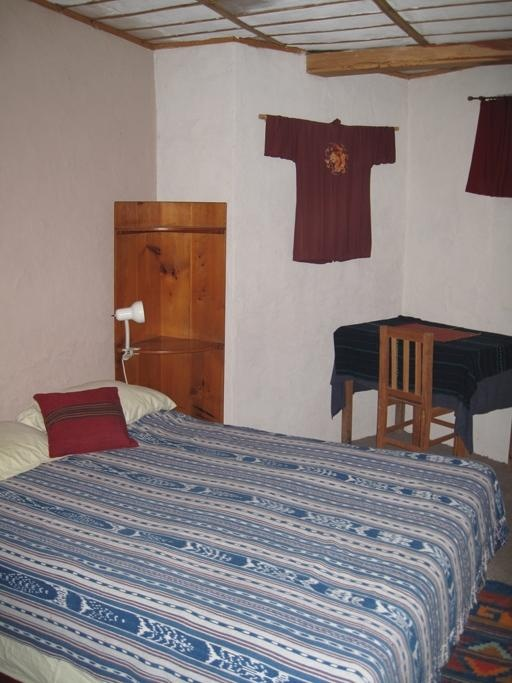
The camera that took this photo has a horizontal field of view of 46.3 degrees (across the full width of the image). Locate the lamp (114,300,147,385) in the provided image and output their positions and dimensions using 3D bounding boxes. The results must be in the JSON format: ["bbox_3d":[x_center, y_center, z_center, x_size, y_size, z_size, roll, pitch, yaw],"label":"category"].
[{"bbox_3d":[-0.714,0.021,3.401,0.156,0.518,0.426,-2,10,-12],"label":"lamp"}]

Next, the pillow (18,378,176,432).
[{"bbox_3d":[-0.661,0.301,2.948,0.323,0.113,0.418,3,5,40],"label":"pillow"}]
